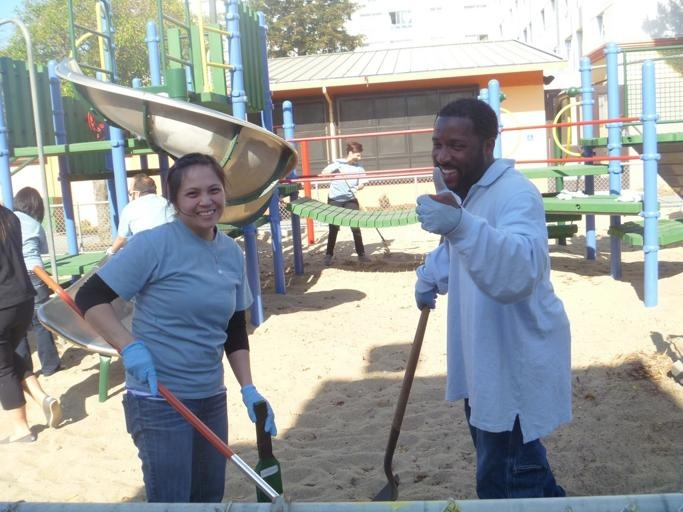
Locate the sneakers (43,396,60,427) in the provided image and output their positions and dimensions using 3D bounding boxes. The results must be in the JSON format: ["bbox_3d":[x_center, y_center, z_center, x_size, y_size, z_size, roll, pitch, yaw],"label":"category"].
[{"bbox_3d":[-2.656,1.432,6.588,0.153,0.331,0.133,23,26,33],"label":"sneakers"}]

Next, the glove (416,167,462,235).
[{"bbox_3d":[0.563,-0.298,3.874,0.239,0.254,0.371,-5,41,17],"label":"glove"}]

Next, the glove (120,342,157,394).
[{"bbox_3d":[-1.122,0.636,3.971,0.176,0.326,0.186,-8,8,-17],"label":"glove"}]

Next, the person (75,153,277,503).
[{"bbox_3d":[-0.947,0.460,4.081,0.998,2.077,0.418,-8,8,-19],"label":"person"}]
